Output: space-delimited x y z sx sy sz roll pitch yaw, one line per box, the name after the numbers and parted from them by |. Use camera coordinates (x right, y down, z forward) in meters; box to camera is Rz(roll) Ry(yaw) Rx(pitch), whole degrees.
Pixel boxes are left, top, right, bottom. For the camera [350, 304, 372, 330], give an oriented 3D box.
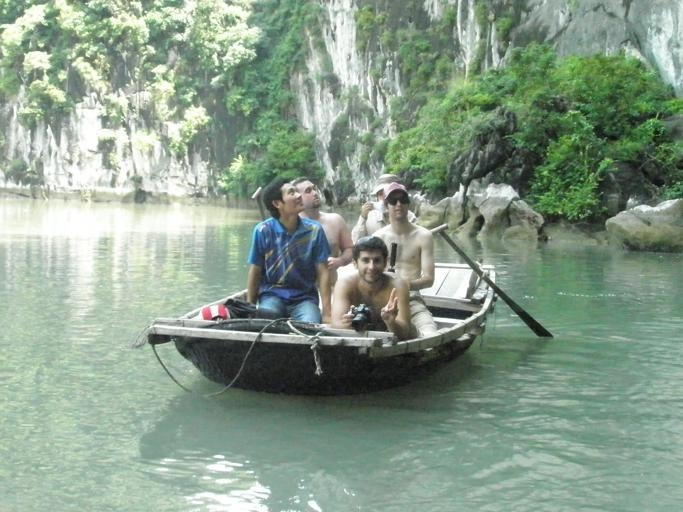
0.190 0.604 8.016 0.181 0.250 0.159 -3 2 3 | camera

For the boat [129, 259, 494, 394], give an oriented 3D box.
-0.019 0.917 8.762 4.174 1.057 1.838 -3 1 -33 | boat

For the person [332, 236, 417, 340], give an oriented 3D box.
0.304 0.335 8.332 0.887 1.032 1.289 -2 3 -12 | person

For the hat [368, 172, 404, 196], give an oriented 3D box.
0.546 -0.984 10.468 0.319 0.196 0.379 -10 -12 -7 | hat

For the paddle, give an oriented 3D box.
2.489 0.430 12.833 0.409 2.232 0.162 -28 -19 -45 | paddle

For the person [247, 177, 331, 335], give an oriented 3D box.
-0.561 0.064 8.657 0.970 1.728 0.972 2 13 2 | person
